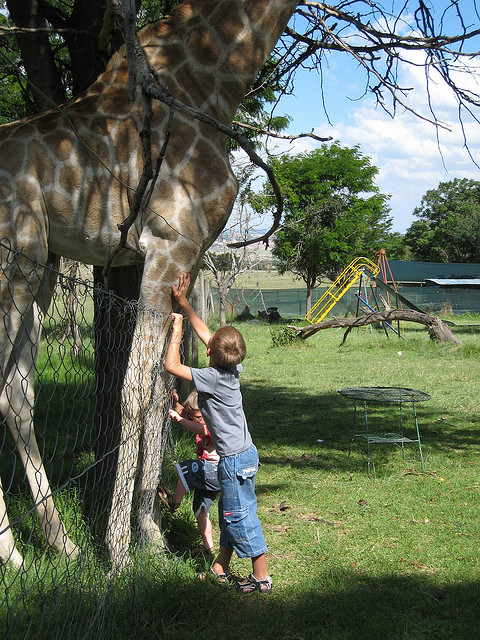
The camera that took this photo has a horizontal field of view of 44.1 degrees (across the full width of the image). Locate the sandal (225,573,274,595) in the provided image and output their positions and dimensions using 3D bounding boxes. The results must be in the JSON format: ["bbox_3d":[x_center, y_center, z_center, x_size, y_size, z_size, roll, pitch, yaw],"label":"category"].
[{"bbox_3d":[0.055,1.437,3.241,0.279,0.120,0.092,2,-15,0],"label":"sandal"}]

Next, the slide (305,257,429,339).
[{"bbox_3d":[3.980,-0.725,17.499,4.178,2.153,1.113,1,15,-10],"label":"slide"}]

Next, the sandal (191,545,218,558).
[{"bbox_3d":[-0.216,1.388,3.574,0.171,0.059,0.065,2,0,11],"label":"sandal"}]

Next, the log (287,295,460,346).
[{"bbox_3d":[3.238,0.179,13.634,3.360,0.835,1.123,2,4,18],"label":"log"}]
